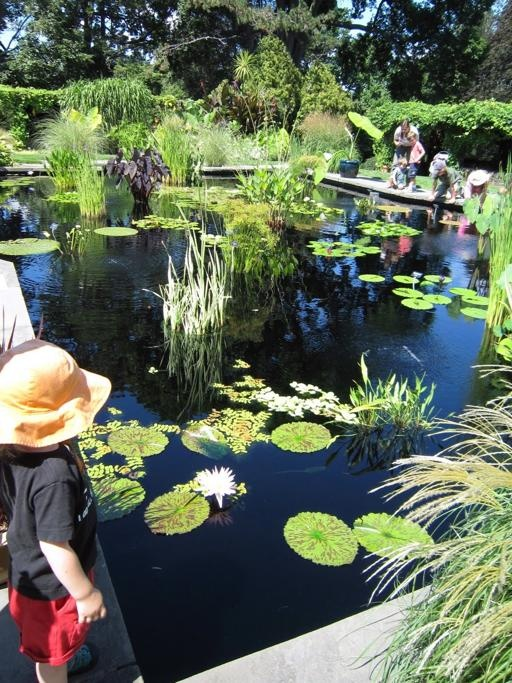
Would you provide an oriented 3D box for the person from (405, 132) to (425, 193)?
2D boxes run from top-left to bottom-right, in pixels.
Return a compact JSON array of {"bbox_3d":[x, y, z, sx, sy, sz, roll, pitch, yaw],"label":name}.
[{"bbox_3d":[3.180,-3.598,10.994,0.292,1.101,0.835,5,15,15],"label":"person"}]

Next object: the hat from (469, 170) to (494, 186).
[{"bbox_3d":[3.007,-2.218,7.394,0.257,0.210,0.406,5,15,16],"label":"hat"}]

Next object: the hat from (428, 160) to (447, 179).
[{"bbox_3d":[3.250,-3.134,9.885,0.243,0.304,0.412,-3,15,-16],"label":"hat"}]
